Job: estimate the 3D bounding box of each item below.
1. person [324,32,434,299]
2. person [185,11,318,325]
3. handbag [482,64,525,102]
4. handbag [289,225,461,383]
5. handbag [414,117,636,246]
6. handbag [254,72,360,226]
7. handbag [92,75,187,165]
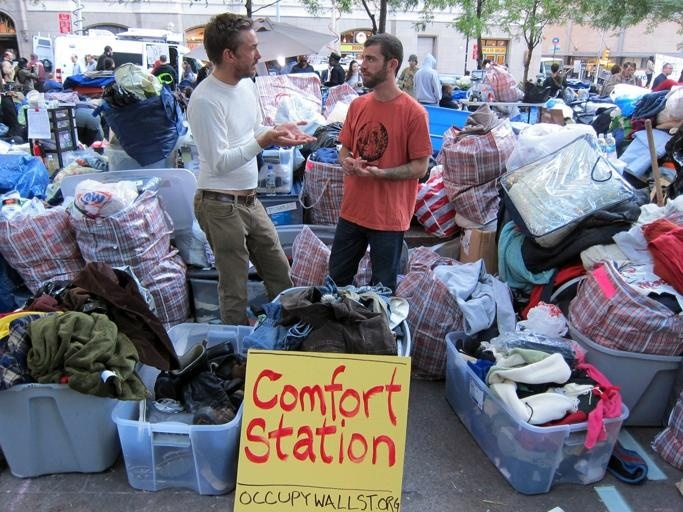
[{"bbox_3d":[0.232,-0.552,3.270,0.648,1.673,0.578,12,26,21],"label":"person"},{"bbox_3d":[-0.627,-0.515,3.223,0.637,1.927,0.582,-9,27,-22],"label":"person"},{"bbox_3d":[3.086,-3.406,9.846,0.752,0.750,0.408,-21,10,-26],"label":"handbag"},{"bbox_3d":[0.286,0.270,3.544,1.043,0.367,1.081,14,26,22],"label":"handbag"},{"bbox_3d":[1.354,-0.556,3.807,1.219,1.054,0.371,13,-15,46],"label":"handbag"},{"bbox_3d":[-0.460,-1.373,5.399,1.389,1.937,0.624,5,-13,8],"label":"handbag"},{"bbox_3d":[-1.669,-1.166,4.300,0.548,0.563,0.581,-21,31,-15],"label":"handbag"}]
